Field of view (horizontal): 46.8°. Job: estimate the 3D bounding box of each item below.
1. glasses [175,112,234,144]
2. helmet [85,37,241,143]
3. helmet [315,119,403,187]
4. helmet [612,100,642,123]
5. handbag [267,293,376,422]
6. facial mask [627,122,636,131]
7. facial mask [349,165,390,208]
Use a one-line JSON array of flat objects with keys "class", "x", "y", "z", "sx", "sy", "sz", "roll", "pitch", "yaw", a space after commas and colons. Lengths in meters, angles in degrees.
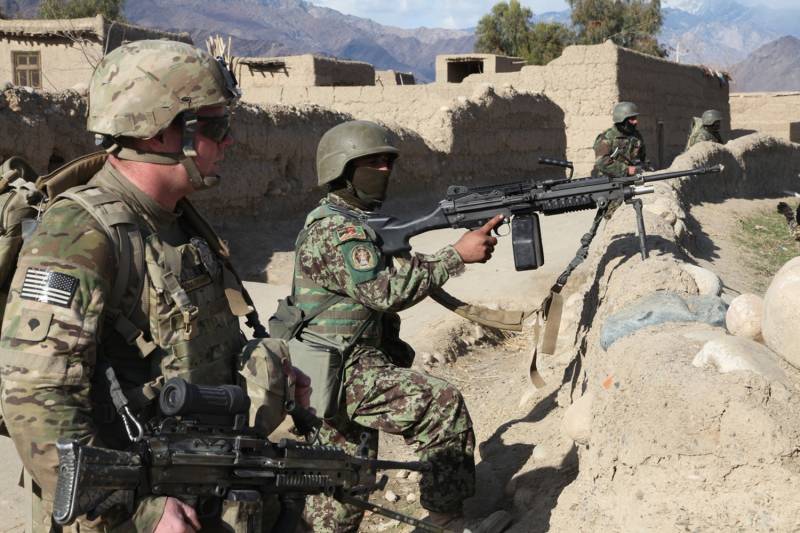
[{"class": "glasses", "x": -0.897, "y": -0.637, "z": 4.256, "sx": 0.170, "sy": 0.088, "sz": 0.136, "roll": 0, "pitch": 5, "yaw": 21}, {"class": "helmet", "x": -1.094, "y": -0.817, "z": 4.208, "sx": 0.553, "sy": 0.372, "sz": 0.451, "roll": -8, "pitch": 4, "yaw": -14}, {"class": "helmet", "x": -0.299, "y": -0.728, "z": 5.861, "sx": 0.451, "sy": 0.376, "sz": 0.396, "roll": 7, "pitch": 11, "yaw": 26}, {"class": "helmet", "x": 2.642, "y": -1.820, "z": 10.793, "sx": 0.324, "sy": 0.276, "sz": 0.331, "roll": -4, "pitch": 9, "yaw": 24}, {"class": "handbag", "x": -0.423, "y": 0.511, "z": 5.625, "sx": 0.525, "sy": 0.787, "sz": 0.320, "roll": 18, "pitch": 5, "yaw": 36}, {"class": "facial mask", "x": 2.714, "y": -1.659, "z": 10.791, "sx": 0.116, "sy": 0.120, "sz": 0.145, "roll": -1, "pitch": 0, "yaw": -5}, {"class": "facial mask", "x": -0.171, "y": -0.513, "z": 5.868, "sx": 0.228, "sy": 0.238, "sz": 0.232, "roll": 11, "pitch": 16, "yaw": 34}]
